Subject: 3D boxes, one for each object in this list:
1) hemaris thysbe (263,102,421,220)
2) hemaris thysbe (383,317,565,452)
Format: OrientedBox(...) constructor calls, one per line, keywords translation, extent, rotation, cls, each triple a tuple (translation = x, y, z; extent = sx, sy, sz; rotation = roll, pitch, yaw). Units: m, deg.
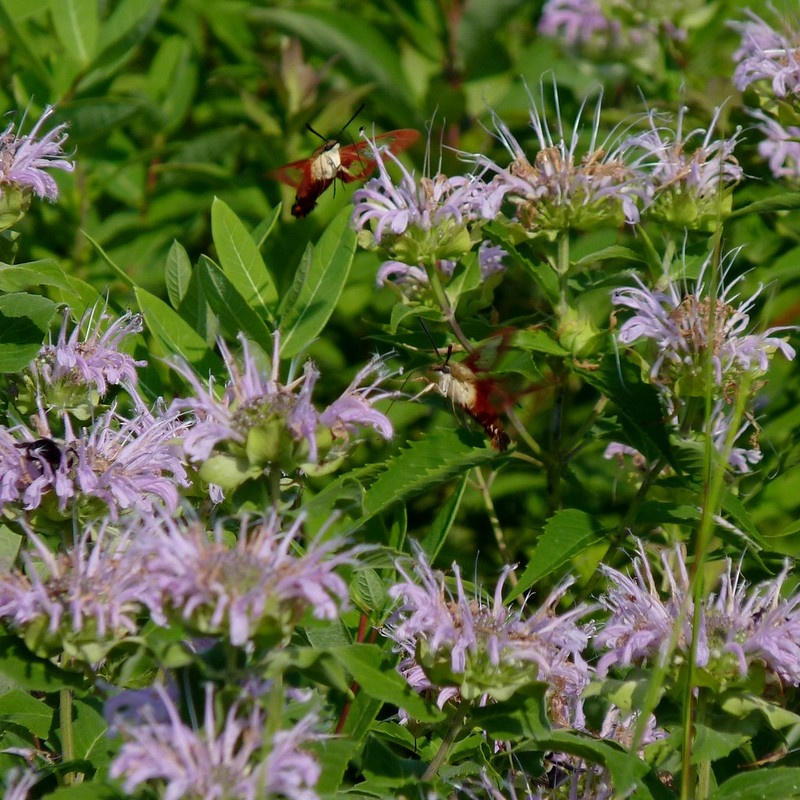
OrientedBox(translation=(-0.136, -0.606, 3.348), extent=(0.244, 0.249, 0.116), rotation=(11, 85, -28), cls="hemaris thysbe")
OrientedBox(translation=(0.143, -0.055, 2.854), extent=(0.265, 0.274, 0.158), rotation=(22, 105, 5), cls="hemaris thysbe")
